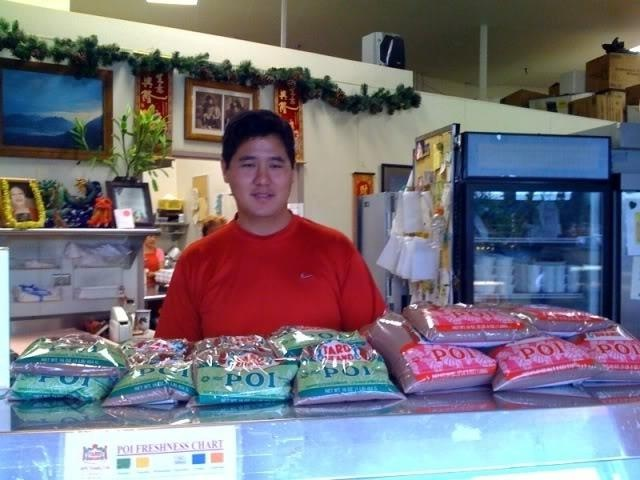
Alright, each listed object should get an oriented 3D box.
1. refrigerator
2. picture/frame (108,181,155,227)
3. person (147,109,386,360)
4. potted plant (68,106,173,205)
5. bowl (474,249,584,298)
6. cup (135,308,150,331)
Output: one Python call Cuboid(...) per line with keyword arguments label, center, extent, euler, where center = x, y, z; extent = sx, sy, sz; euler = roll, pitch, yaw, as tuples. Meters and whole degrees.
Cuboid(label="refrigerator", center=(1.406, -0.106, 3.321), extent=(1.046, 1.215, 0.460), euler=(-2, 4, 3))
Cuboid(label="picture/frame", center=(-1.422, -0.266, 3.649), extent=(0.321, 0.359, 0.038), euler=(-9, -18, -36))
Cuboid(label="person", center=(-0.187, -0.054, 1.806), extent=(0.823, 0.829, 0.354), euler=(-2, 4, 8))
Cuboid(label="potted plant", center=(-1.661, -0.755, 4.139), extent=(0.814, 0.581, 0.837), euler=(-4, 8, -17))
Cuboid(label="bowl", center=(1.442, 0.256, 3.451), extent=(0.549, 0.182, 0.392), euler=(0, -1, 6))
Cuboid(label="cup", center=(-1.285, 0.574, 3.546), extent=(0.128, 0.138, 0.123), euler=(0, -5, 0))
